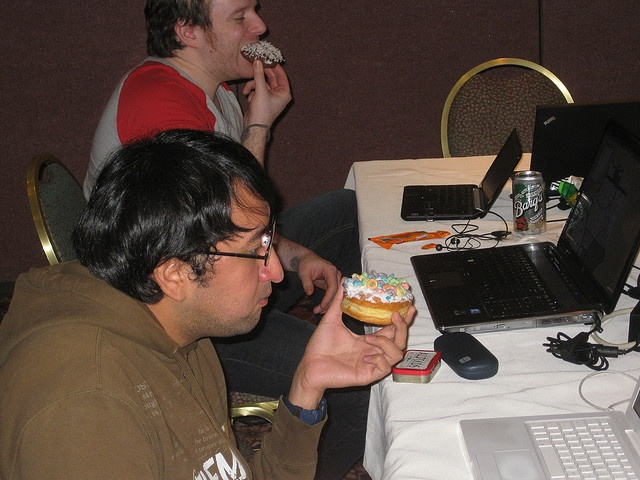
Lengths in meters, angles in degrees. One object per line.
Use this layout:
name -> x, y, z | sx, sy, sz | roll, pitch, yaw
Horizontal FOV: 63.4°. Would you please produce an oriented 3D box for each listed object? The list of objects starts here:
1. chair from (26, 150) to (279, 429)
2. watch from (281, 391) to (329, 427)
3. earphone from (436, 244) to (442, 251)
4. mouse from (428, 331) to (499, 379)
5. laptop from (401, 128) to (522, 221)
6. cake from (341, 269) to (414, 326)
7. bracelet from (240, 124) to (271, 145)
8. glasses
chair -> -0.478, 0.059, 2.400 | 1.051, 1.566, 0.953 | 0, 19, 3
watch -> -0.033, 0.426, 1.312 | 0.086, 0.044, 0.067 | 3, 9, 0
earphone -> 0.396, 0.023, 1.717 | 0.018, 0.015, 0.014 | 0, 23, -5
mouse -> 0.369, 0.283, 1.264 | 0.097, 0.038, 0.165 | -7, 14, 2
laptop -> 0.527, -0.194, 2.014 | 0.409, 0.262, 0.418 | 1, 23, 8
cake -> 0.150, 0.127, 1.410 | 0.146, 0.088, 0.149 | 10, 15, 6
bracelet -> -0.308, -0.498, 2.407 | 0.112, 0.089, 0.044 | -2, 41, -4
glasses -> -0.167, -0.002, 1.136 | 0.107, 0.032, 0.106 | 0, 32, -3
